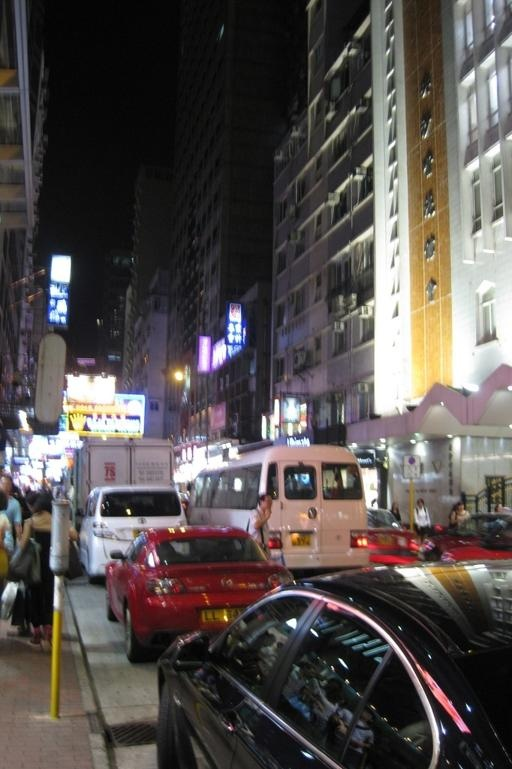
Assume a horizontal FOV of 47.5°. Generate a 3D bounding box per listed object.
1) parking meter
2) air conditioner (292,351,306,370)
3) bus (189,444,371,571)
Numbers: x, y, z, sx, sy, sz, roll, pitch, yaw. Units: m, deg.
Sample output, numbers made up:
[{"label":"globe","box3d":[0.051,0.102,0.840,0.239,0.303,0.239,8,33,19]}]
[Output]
[{"label":"parking meter","box3d":[-1.727,1.975,5.094,0.159,1.736,0.204,-8,-13,26]},{"label":"air conditioner","box3d":[2.847,-1.553,38.116,0.676,2.212,0.942,0,-2,-12]},{"label":"bus","box3d":[0.698,2.871,15.625,2.137,3.547,5.970,3,-10,-17]}]
